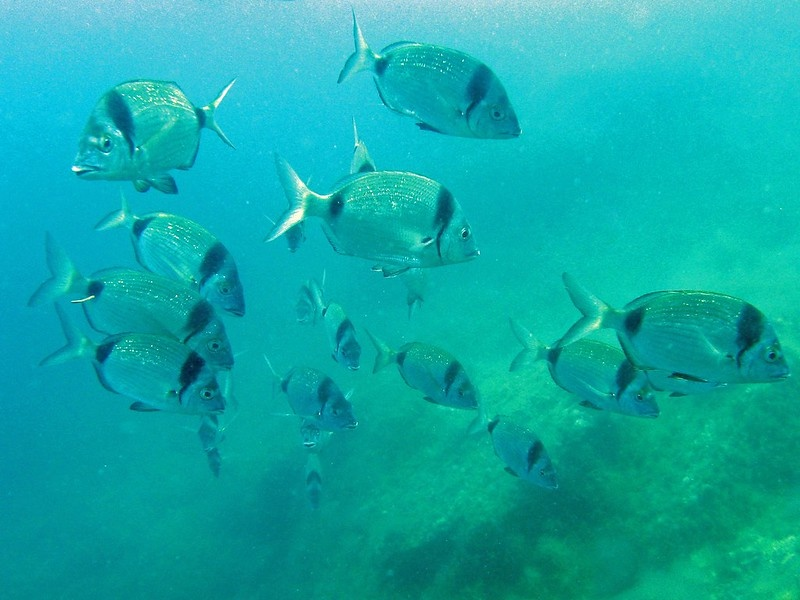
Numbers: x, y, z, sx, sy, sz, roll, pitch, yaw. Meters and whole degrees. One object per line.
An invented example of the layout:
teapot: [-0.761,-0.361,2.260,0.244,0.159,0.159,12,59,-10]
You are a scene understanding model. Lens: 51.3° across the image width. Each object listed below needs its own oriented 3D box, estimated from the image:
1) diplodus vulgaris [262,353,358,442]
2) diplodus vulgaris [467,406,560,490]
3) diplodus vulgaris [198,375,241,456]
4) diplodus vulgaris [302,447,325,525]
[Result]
diplodus vulgaris: [-1.112,1.221,10.589,0.664,0.661,1.440,-14,30,-35]
diplodus vulgaris: [1.474,1.814,9.993,0.663,0.958,0.208,-18,-3,43]
diplodus vulgaris: [-2.440,1.594,10.993,0.452,0.770,1.552,4,-29,-12]
diplodus vulgaris: [-1.224,2.489,11.409,0.253,1.066,0.448,-2,-31,-4]
